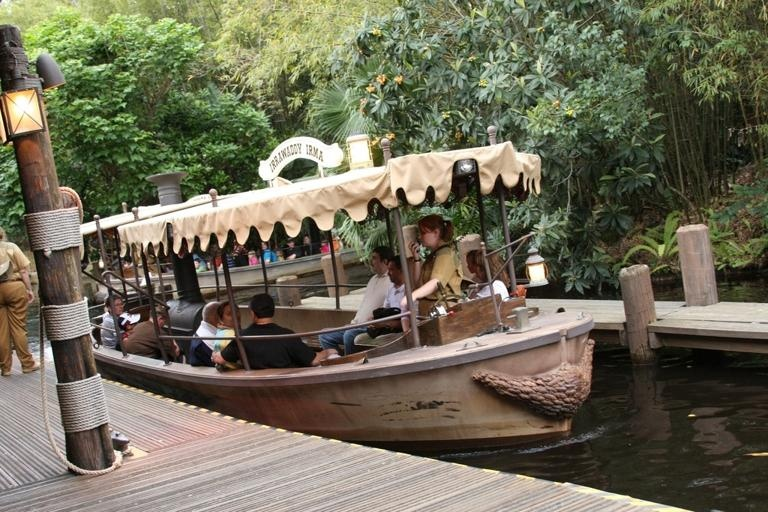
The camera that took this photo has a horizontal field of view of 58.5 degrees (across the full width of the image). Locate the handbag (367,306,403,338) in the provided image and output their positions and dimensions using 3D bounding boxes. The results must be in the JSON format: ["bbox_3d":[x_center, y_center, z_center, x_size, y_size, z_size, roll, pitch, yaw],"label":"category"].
[{"bbox_3d":[0.011,0.893,9.266,0.538,0.465,0.360,-9,-10,7],"label":"handbag"}]

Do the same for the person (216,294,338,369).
[{"bbox_3d":[-1.507,1.089,9.097,1.809,1.092,0.865,-2,9,4],"label":"person"}]

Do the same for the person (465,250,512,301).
[{"bbox_3d":[1.348,0.307,9.014,0.623,0.813,0.851,1,-7,-5],"label":"person"}]

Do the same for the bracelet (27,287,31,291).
[{"bbox_3d":[-5.281,0.486,10.211,0.065,0.056,0.064,-3,3,-38],"label":"bracelet"}]
